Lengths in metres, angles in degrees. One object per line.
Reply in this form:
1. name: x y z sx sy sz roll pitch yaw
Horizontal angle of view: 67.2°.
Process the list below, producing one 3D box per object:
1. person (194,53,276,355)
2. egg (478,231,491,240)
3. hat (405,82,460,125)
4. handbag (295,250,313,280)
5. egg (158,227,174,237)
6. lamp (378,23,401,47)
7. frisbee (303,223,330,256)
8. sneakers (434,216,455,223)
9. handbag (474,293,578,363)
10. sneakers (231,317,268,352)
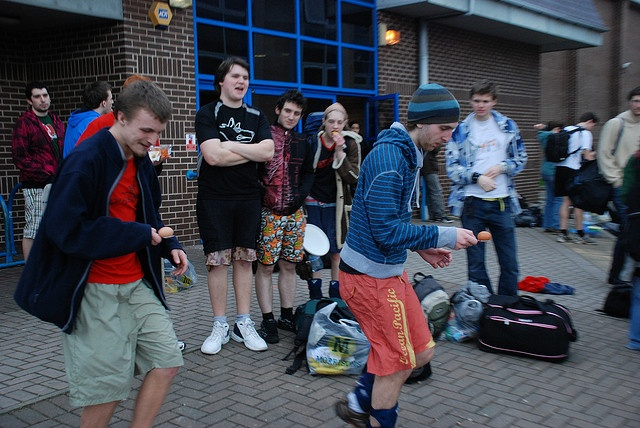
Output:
1. person: -0.880 -0.082 5.085 0.801 3.036 0.815 -2 15 -6
2. egg: 1.203 0.171 3.561 0.083 0.081 0.102 4 14 16
3. hat: 0.826 -0.840 3.646 0.364 0.239 0.334 -2 4 -5
4. handbag: -0.181 0.621 5.762 0.257 0.283 0.115 9 5 -3
5. egg: -1.062 0.143 3.359 0.101 0.068 0.069 -10 28 -8
6. lamp: 1.625 -4.359 11.836 0.608 0.527 0.601 1 5 16
7. frisbee: -0.051 0.324 5.777 0.373 0.332 0.060 -1 -32 -40
8. sneakers: 3.178 0.155 12.360 0.508 0.196 0.172 0 6 13
9. handbag: 2.142 1.204 5.032 0.837 0.487 0.735 3 2 28
10. sneakers: -0.780 1.292 5.264 0.528 0.232 0.216 20 14 38
